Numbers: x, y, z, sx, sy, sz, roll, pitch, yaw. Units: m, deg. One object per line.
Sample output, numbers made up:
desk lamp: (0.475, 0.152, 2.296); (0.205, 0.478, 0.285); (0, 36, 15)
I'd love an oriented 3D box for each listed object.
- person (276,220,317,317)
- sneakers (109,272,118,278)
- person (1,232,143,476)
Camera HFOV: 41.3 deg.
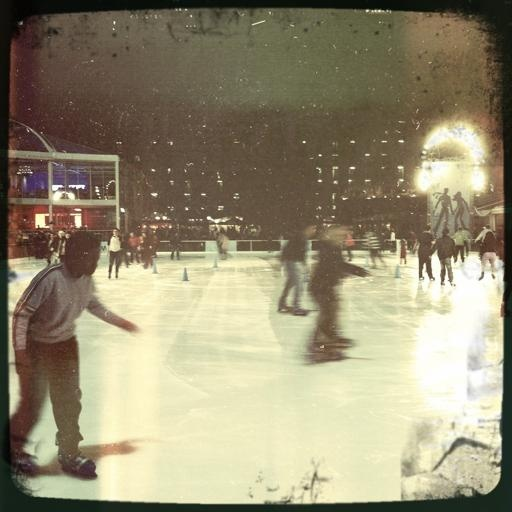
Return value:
person: (0.717, 0.289, 11.937); (0.725, 0.672, 2.173); (-3, -32, 0)
sneakers: (-4.449, 0.590, 21.070); (0.162, 0.175, 0.125); (-1, 6, -2)
person: (-1.159, 0.655, 3.987); (0.609, 1.560, 1.269); (2, 8, 5)
